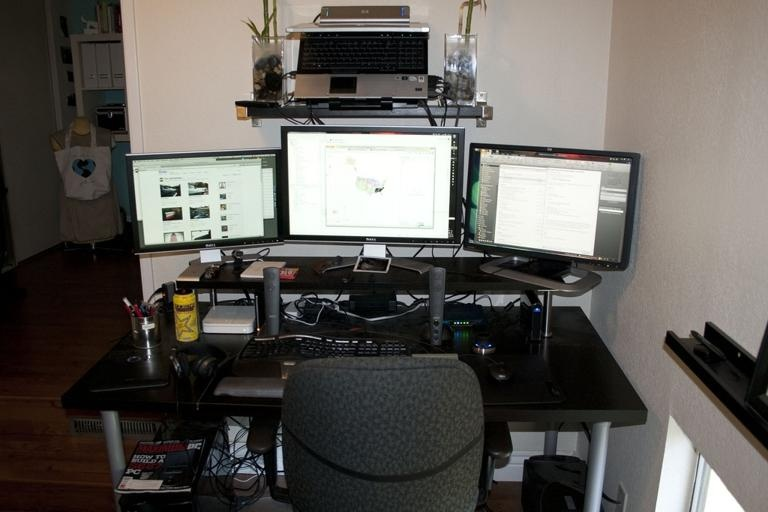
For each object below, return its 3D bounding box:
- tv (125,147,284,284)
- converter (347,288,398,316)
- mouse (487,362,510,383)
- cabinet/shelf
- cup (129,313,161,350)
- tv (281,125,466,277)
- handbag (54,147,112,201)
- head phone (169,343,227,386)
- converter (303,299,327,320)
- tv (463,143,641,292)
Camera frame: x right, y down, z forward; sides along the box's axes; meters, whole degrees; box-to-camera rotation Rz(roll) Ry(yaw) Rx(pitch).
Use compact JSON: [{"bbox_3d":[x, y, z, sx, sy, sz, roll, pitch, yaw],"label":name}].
[{"bbox_3d":[-0.770,-0.197,2.754,0.666,0.457,0.172,-2,14,-8],"label":"tv"},{"bbox_3d":[-0.051,0.225,2.888,0.202,0.092,0.137,1,20,1],"label":"converter"},{"bbox_3d":[0.453,0.457,2.444,0.058,0.051,0.086,-13,19,-39],"label":"mouse"},{"bbox_3d":[-2.565,-1.560,5.851,0.549,0.974,0.321,1,11,8],"label":"cabinet/shelf"},{"bbox_3d":[-1.013,0.321,2.712,0.147,0.154,0.143,1,15,0],"label":"cup"},{"bbox_3d":[-0.048,-0.266,2.747,0.704,0.477,0.181,1,11,3],"label":"tv"},{"bbox_3d":[-2.481,-0.690,5.133,0.467,0.521,0.130,0,35,-12],"label":"handbag"},{"bbox_3d":[-0.755,0.418,2.531,0.202,0.106,0.222,-1,14,-2],"label":"head phone"},{"bbox_3d":[-0.324,0.249,2.898,0.071,0.028,0.092,1,20,2],"label":"converter"},{"bbox_3d":[0.718,-0.169,2.623,0.587,0.462,0.271,7,20,19],"label":"tv"}]
